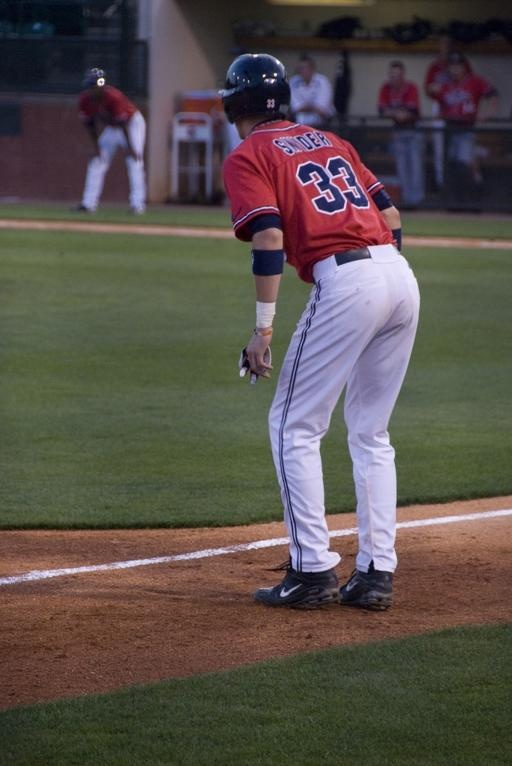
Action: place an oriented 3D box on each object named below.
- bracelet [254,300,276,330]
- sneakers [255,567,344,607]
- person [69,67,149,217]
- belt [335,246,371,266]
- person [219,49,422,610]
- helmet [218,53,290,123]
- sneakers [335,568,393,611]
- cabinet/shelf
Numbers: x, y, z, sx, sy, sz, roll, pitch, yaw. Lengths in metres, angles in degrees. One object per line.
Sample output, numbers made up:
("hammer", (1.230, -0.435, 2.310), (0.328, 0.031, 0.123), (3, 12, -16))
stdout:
("bracelet", (0.044, -0.209, 4.145), (0.080, 0.105, 0.084), (3, 2, 1))
("sneakers", (0.162, 0.646, 4.227), (0.281, 0.125, 0.099), (0, -4, 10))
("person", (-0.756, -1.296, 7.418), (0.361, 0.808, 0.910), (-1, 14, -7))
("belt", (0.306, -0.371, 4.032), (0.071, 0.024, 0.067), (-15, -5, -1))
("person", (0.192, -0.155, 4.214), (0.526, 1.669, 0.683), (-8, 18, -31))
("helmet", (-0.013, -0.932, 4.285), (0.193, 0.186, 0.220), (-2, 16, -11))
("sneakers", (0.359, 0.645, 4.238), (0.089, 0.104, 0.224), (4, -3, -27))
("cabinet/shelf", (-0.729, -2.826, 17.075), (0.577, 1.129, 0.936), (1, 14, -2))
